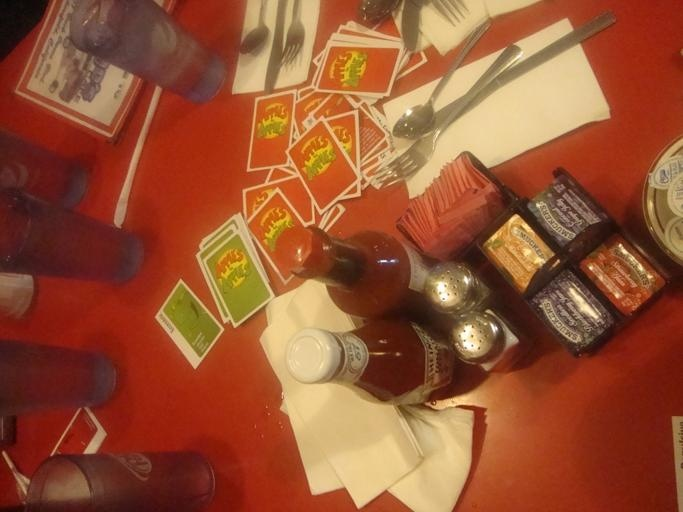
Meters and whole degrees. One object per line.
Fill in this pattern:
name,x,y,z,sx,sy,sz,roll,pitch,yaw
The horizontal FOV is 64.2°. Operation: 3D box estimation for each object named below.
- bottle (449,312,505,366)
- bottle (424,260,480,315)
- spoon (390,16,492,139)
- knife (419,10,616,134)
bottle,0.271,0.161,1.115,0.088,0.081,0.101,-26,69,28
bottle,0.220,0.060,1.082,0.105,0.035,0.100,1,73,-2
spoon,0.245,-0.418,1.284,0.062,0.045,0.336,36,96,26
knife,0.411,-0.409,1.221,0.472,0.038,0.060,-39,73,16
